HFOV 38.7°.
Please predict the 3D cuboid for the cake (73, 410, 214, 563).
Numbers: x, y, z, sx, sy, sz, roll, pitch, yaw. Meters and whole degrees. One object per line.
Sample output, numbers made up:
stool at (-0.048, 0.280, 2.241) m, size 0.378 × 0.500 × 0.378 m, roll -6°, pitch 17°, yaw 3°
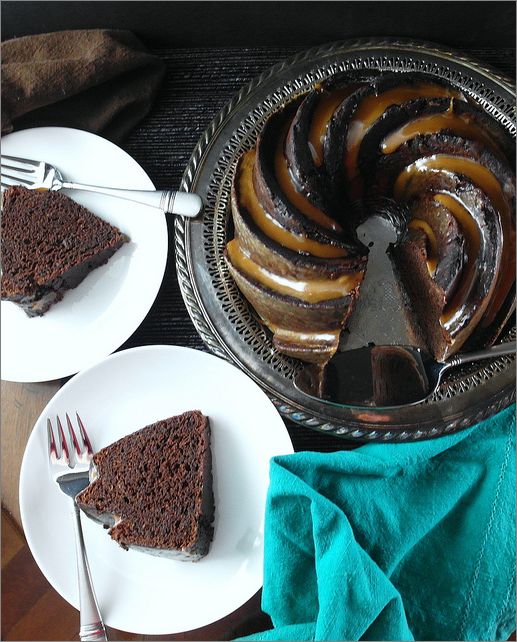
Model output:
cake at (-0.213, 0.307, 1.357) m, size 0.250 × 0.070 × 0.251 m, roll -7°, pitch 69°, yaw -4°
